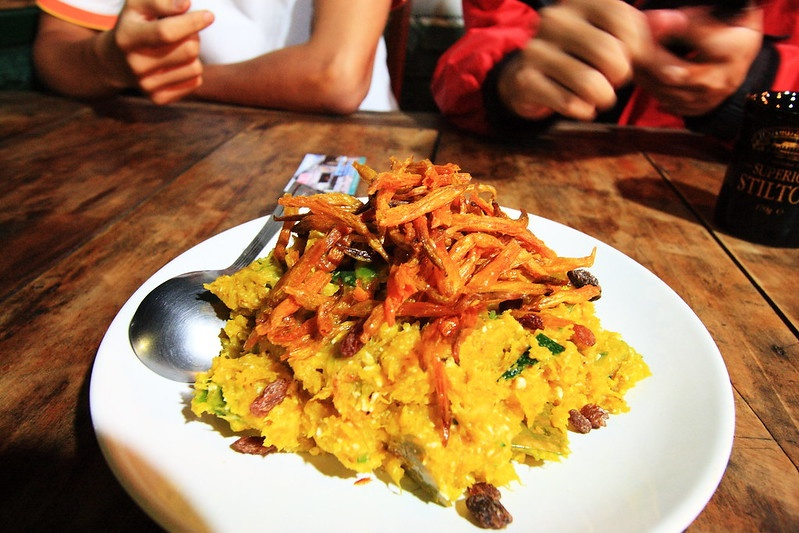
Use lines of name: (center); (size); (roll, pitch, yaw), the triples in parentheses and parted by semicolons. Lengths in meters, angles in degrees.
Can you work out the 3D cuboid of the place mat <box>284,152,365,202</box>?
place mat: (-0.343, -0.447, 2.763); (0.309, 0.013, 0.320); (6, 42, 6)
